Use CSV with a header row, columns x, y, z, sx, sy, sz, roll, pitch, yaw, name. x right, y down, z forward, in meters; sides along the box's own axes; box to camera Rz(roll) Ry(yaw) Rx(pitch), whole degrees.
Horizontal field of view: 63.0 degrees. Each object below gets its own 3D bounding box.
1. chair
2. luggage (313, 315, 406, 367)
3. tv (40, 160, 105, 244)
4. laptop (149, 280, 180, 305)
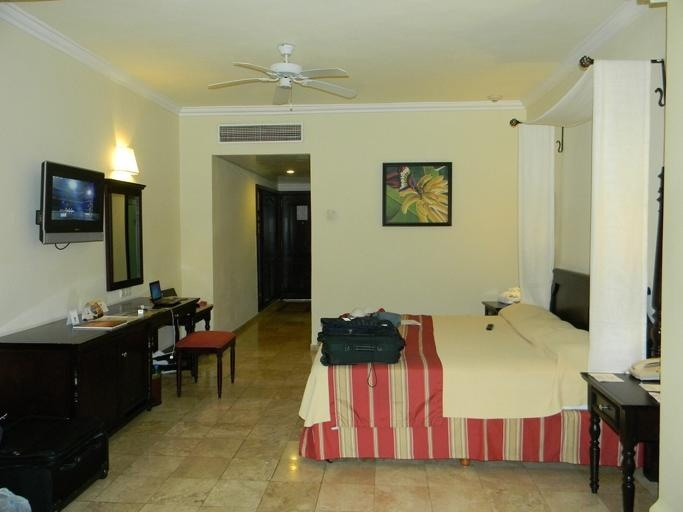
x,y,z,sx,sy,sz,roll,pitch,yaw,name
-1.370,0.917,5.618,0.465,0.837,0.468,0,2,6,chair
0.169,0.625,4.345,0.477,0.333,0.571,6,2,9,luggage
-2.258,-0.445,4.634,0.100,0.697,0.760,3,2,16,tv
-1.859,0.413,5.845,0.243,0.196,0.328,-1,6,-1,laptop
